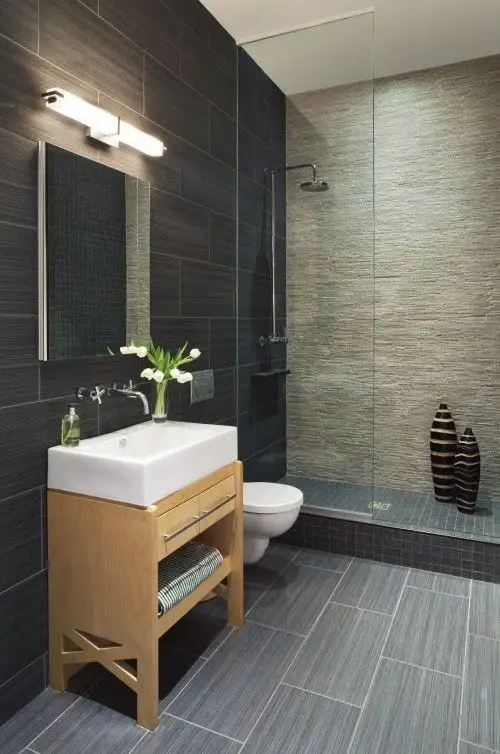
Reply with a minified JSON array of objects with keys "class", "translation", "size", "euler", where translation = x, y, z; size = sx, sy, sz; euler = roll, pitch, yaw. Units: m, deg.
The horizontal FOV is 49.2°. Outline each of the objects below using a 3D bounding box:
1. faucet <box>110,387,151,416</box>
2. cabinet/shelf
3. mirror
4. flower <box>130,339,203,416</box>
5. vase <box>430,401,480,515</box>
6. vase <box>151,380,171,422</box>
[{"class":"faucet","translation":[-0.469,0.095,2.104],"size":[0.038,0.096,0.217],"euler":[-10,27,-38]},{"class":"cabinet/shelf","translation":[-0.340,0.678,1.921],"size":[0.437,0.669,0.589],"euler":[2,4,27]},{"class":"mirror","translation":[-0.473,-0.435,2.027],"size":[0.047,0.680,0.630],"euler":[5,6,41]},{"class":"flower","translation":[-0.352,-0.020,2.256],"size":[0.273,0.324,0.317],"euler":[2,0,12]},{"class":"vase","translation":[1.270,0.470,3.301],"size":[0.249,0.585,0.494],"euler":[0,3,-3]},{"class":"vase","translation":[-0.363,0.090,2.201],"size":[0.058,0.180,0.205],"euler":[0,4,-11]}]
